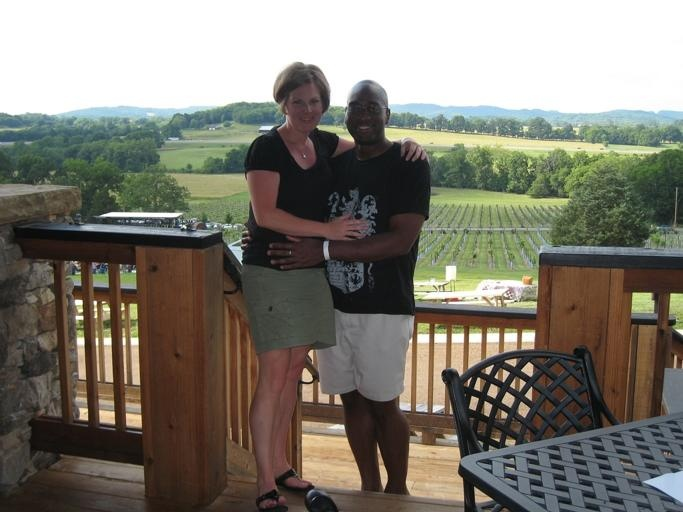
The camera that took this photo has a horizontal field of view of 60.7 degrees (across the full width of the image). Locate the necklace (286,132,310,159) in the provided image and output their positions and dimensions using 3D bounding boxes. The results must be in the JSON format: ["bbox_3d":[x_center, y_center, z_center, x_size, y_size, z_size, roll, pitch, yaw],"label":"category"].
[{"bbox_3d":[-0.165,-0.450,2.325,0.091,0.072,0.073,-6,28,11],"label":"necklace"}]

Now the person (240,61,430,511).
[{"bbox_3d":[-0.183,0.078,2.360,0.353,1.726,0.652,6,12,42],"label":"person"}]

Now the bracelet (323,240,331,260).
[{"bbox_3d":[-0.057,-0.030,2.345,0.021,0.061,0.044,-2,3,-8],"label":"bracelet"}]

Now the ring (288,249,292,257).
[{"bbox_3d":[-0.193,-0.017,2.271,0.016,0.022,0.006,-5,10,-16],"label":"ring"}]
